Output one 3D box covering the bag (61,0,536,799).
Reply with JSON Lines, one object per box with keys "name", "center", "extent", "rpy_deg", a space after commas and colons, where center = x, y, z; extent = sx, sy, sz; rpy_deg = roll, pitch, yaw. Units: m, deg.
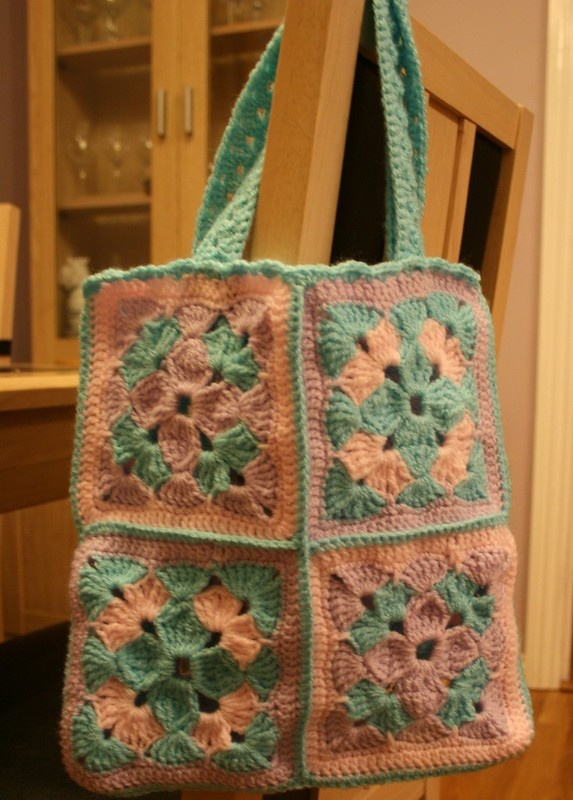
{"name": "bag", "center": [0.011, 0.075, 0.596], "extent": [0.306, 0.333, 0.182], "rpy_deg": [1, 18, -15]}
